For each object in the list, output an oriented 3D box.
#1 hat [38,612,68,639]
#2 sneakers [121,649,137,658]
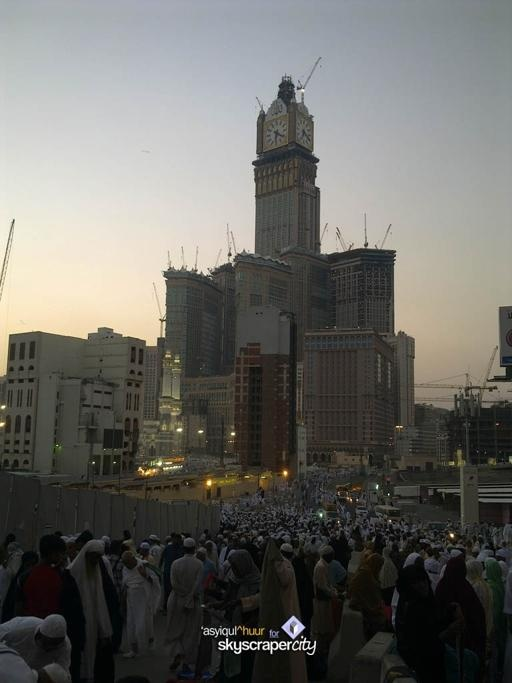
[{"bbox_3d":[-1.599,2.250,5.521,0.213,0.195,0.186,6,-11,-28],"label":"hat"},{"bbox_3d":[-1.794,4.421,9.939,0.201,0.081,0.111,7,-13,-15],"label":"sneakers"}]
